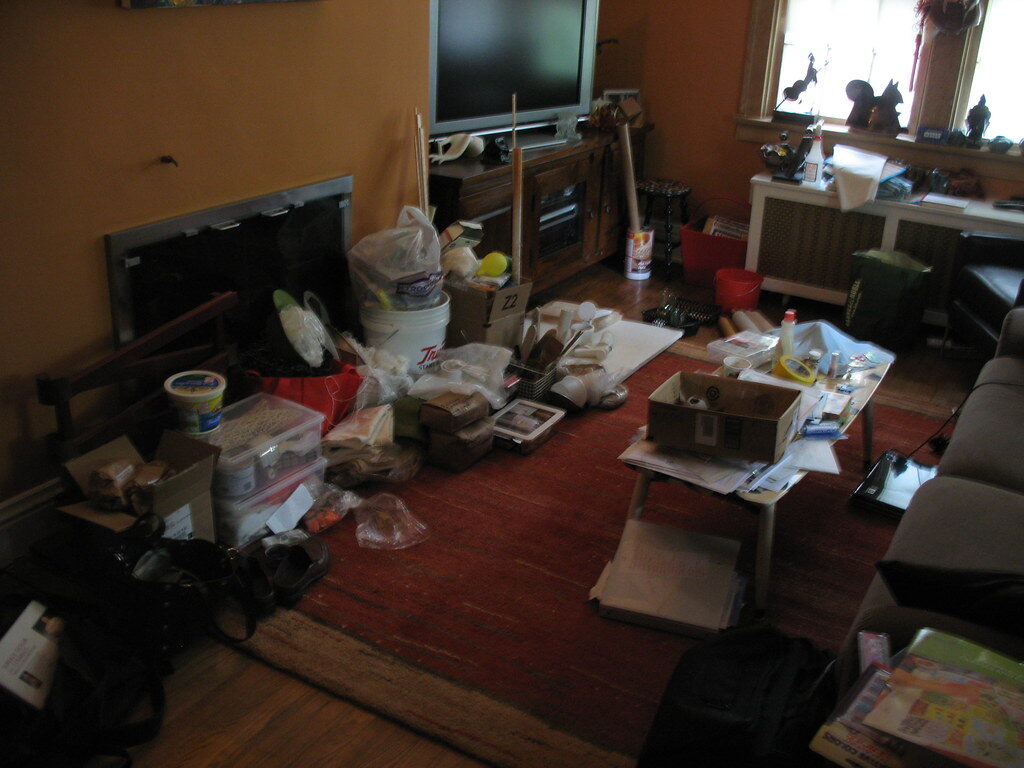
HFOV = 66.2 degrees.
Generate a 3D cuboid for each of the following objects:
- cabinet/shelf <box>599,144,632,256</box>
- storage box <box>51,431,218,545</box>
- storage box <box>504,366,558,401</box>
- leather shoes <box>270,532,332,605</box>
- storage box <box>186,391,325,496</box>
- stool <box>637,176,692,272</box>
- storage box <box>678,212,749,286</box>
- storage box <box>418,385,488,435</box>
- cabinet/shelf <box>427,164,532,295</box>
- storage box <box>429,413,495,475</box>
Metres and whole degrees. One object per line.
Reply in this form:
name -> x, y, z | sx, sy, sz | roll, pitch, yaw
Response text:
cabinet/shelf -> 0.666, -1.172, 5.109 | 0.132, 0.804, 0.413 | 8, 27, 17
storage box -> -1.114, 0.304, 2.362 | 0.391, 0.293, 0.323 | 12, 21, 28
storage box -> 0.101, -0.026, 3.459 | 0.150, 0.095, 0.154 | 17, 31, 29
leather shoes -> -0.710, 0.600, 2.601 | 0.141, 0.070, 0.217 | 20, 34, 15
storage box -> -0.857, 0.196, 2.703 | 0.259, 0.119, 0.346 | 23, 37, 30
stool -> 1.013, -1.057, 5.193 | 0.406, 0.522, 0.411 | 26, 43, 32
storage box -> 1.290, -0.816, 5.049 | 0.407, 0.419, 0.428 | 8, 29, 16
storage box -> -0.223, 0.101, 3.119 | 0.155, 0.076, 0.204 | 17, 29, 31
cabinet/shelf -> -0.179, -0.751, 3.801 | 0.163, 0.520, 0.519 | 14, 39, 21
storage box -> -0.214, 0.218, 3.177 | 0.180, 0.167, 0.256 | 13, 27, 25
